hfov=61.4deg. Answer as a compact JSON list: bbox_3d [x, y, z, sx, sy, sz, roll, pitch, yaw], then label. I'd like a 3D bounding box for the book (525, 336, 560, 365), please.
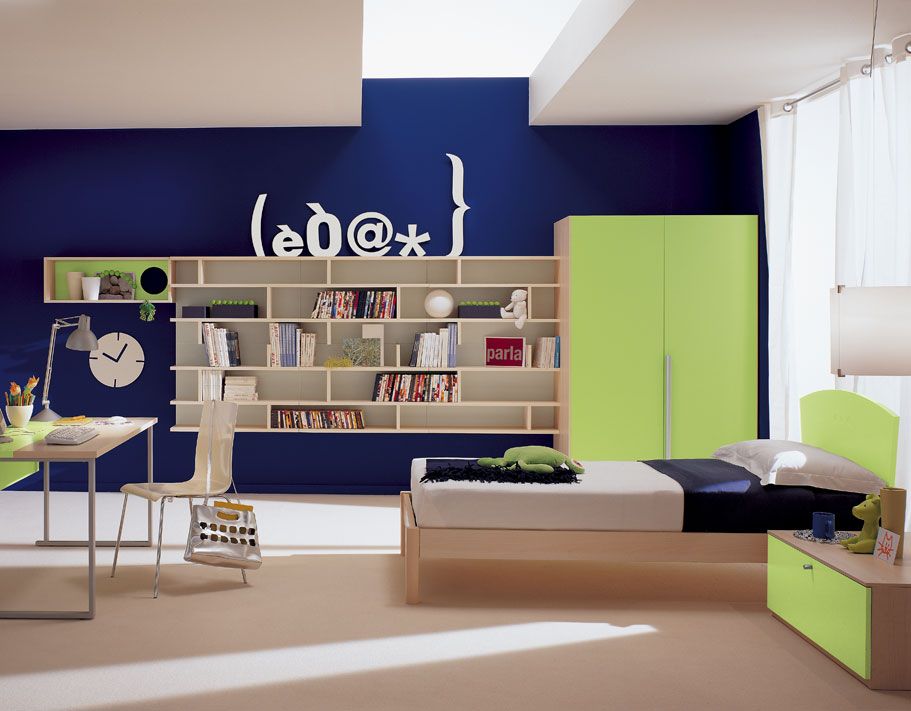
[{"bbox_3d":[0.718,-0.018,6.393,0.223,0.292,0.309,1,0,-6],"label":"book"}]

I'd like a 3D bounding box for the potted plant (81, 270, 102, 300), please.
[{"bbox_3d":[-3.042,-0.568,6.390,0.194,0.202,0.182,1,-4,-11],"label":"potted plant"}]

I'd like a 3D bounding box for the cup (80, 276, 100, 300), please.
[{"bbox_3d":[-3.063,-0.550,6.415,0.169,0.200,0.099,-1,7,-10],"label":"cup"}]

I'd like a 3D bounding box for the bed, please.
[{"bbox_3d":[1.005,0.727,4.611,2.250,1.007,1.263,0,0,-1],"label":"bed"}]

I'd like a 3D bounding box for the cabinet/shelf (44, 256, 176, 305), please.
[{"bbox_3d":[-2.903,-0.633,6.448,1.075,0.373,0.291,2,6,13],"label":"cabinet/shelf"}]

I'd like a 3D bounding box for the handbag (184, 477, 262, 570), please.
[{"bbox_3d":[-1.473,1.070,4.798,0.487,0.438,0.196,7,-30,-20],"label":"handbag"}]

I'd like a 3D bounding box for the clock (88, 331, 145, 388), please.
[{"bbox_3d":[-2.900,0.056,6.503,0.501,0.499,0.055,-1,1,1],"label":"clock"}]

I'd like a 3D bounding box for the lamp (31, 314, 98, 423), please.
[{"bbox_3d":[-2.965,0.110,5.849,0.468,0.865,1.770,-3,7,-27],"label":"lamp"}]

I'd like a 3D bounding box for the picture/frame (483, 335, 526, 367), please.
[{"bbox_3d":[0.422,-0.017,6.423,0.426,0.286,0.213,0,-5,-1],"label":"picture/frame"}]

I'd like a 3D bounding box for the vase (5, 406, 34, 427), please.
[{"bbox_3d":[-2.779,0.386,4.893,0.135,0.112,0.143,0,0,27],"label":"vase"}]

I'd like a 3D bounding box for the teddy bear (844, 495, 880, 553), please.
[{"bbox_3d":[2.025,0.833,3.786,0.220,0.286,0.213,3,-9,34],"label":"teddy bear"}]
